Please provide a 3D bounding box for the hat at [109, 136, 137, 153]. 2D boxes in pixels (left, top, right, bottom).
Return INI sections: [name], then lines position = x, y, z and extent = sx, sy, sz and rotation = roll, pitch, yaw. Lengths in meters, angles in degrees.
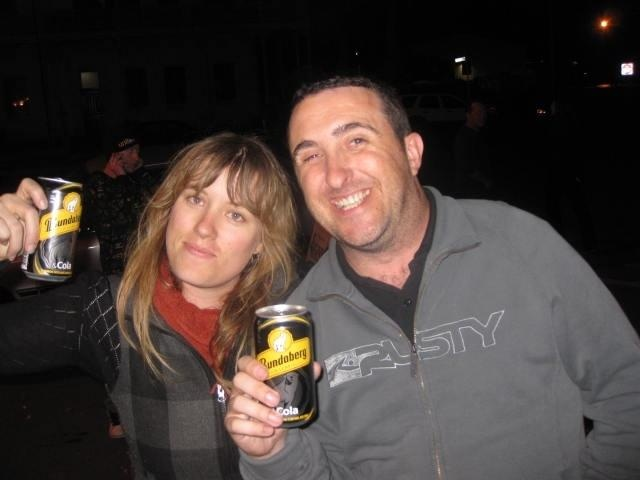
[hat]
position = -1.860, -0.900, 4.831
extent = 0.138, 0.067, 0.184
rotation = -21, 2, -1
